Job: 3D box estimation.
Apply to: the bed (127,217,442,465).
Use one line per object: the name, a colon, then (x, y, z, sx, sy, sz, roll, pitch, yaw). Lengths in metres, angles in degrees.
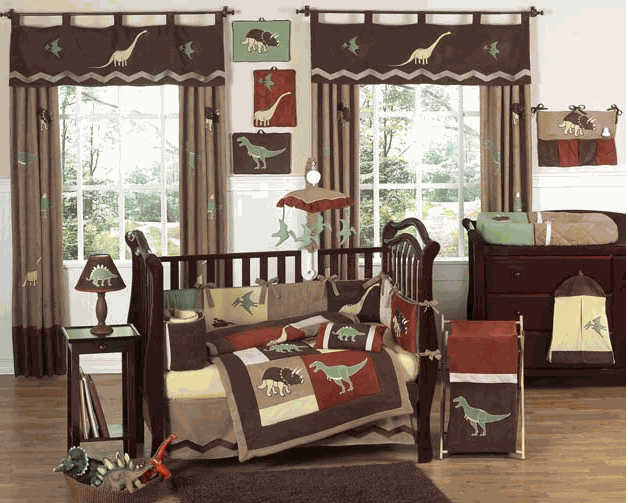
bed: (-0.129, 0.533, 3.852, 1.562, 1.212, 1.215, -1, 6, -9)

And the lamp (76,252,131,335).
lamp: (-1.156, 0.237, 3.569, 0.251, 0.448, 0.251, 10, 12, 40)

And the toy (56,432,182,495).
toy: (-0.902, 1.103, 3.211, 0.660, 0.315, 0.256, -12, -21, 7)
